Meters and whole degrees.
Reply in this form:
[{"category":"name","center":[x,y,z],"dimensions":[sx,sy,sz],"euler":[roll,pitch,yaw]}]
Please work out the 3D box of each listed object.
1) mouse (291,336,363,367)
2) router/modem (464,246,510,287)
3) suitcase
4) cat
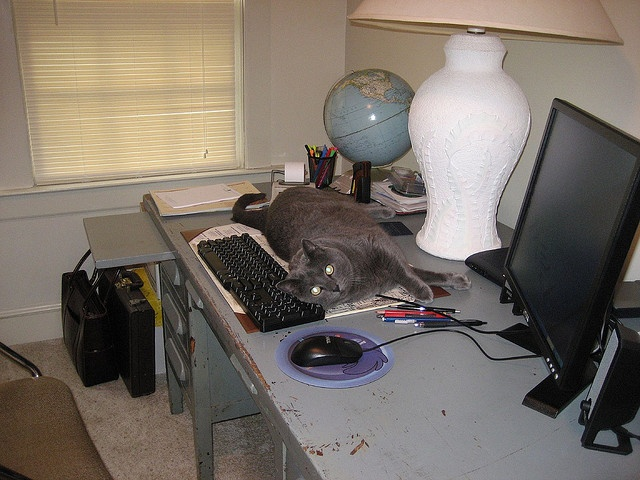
[{"category":"mouse","center":[0.017,0.217,0.973],"dimensions":[0.147,0.043,0.083],"euler":[-2,21,-18]},{"category":"router/modem","center":[0.427,0.070,1.230],"dimensions":[0.084,0.055,0.123],"euler":[-9,27,-30]},{"category":"suitcase","center":[-0.774,0.395,1.996],"dimensions":[0.126,0.502,0.365],"euler":[-8,24,-25]},{"category":"cat","center":[0.010,-0.122,1.261],"dimensions":[0.344,0.259,0.676],"euler":[6,15,-36]}]
